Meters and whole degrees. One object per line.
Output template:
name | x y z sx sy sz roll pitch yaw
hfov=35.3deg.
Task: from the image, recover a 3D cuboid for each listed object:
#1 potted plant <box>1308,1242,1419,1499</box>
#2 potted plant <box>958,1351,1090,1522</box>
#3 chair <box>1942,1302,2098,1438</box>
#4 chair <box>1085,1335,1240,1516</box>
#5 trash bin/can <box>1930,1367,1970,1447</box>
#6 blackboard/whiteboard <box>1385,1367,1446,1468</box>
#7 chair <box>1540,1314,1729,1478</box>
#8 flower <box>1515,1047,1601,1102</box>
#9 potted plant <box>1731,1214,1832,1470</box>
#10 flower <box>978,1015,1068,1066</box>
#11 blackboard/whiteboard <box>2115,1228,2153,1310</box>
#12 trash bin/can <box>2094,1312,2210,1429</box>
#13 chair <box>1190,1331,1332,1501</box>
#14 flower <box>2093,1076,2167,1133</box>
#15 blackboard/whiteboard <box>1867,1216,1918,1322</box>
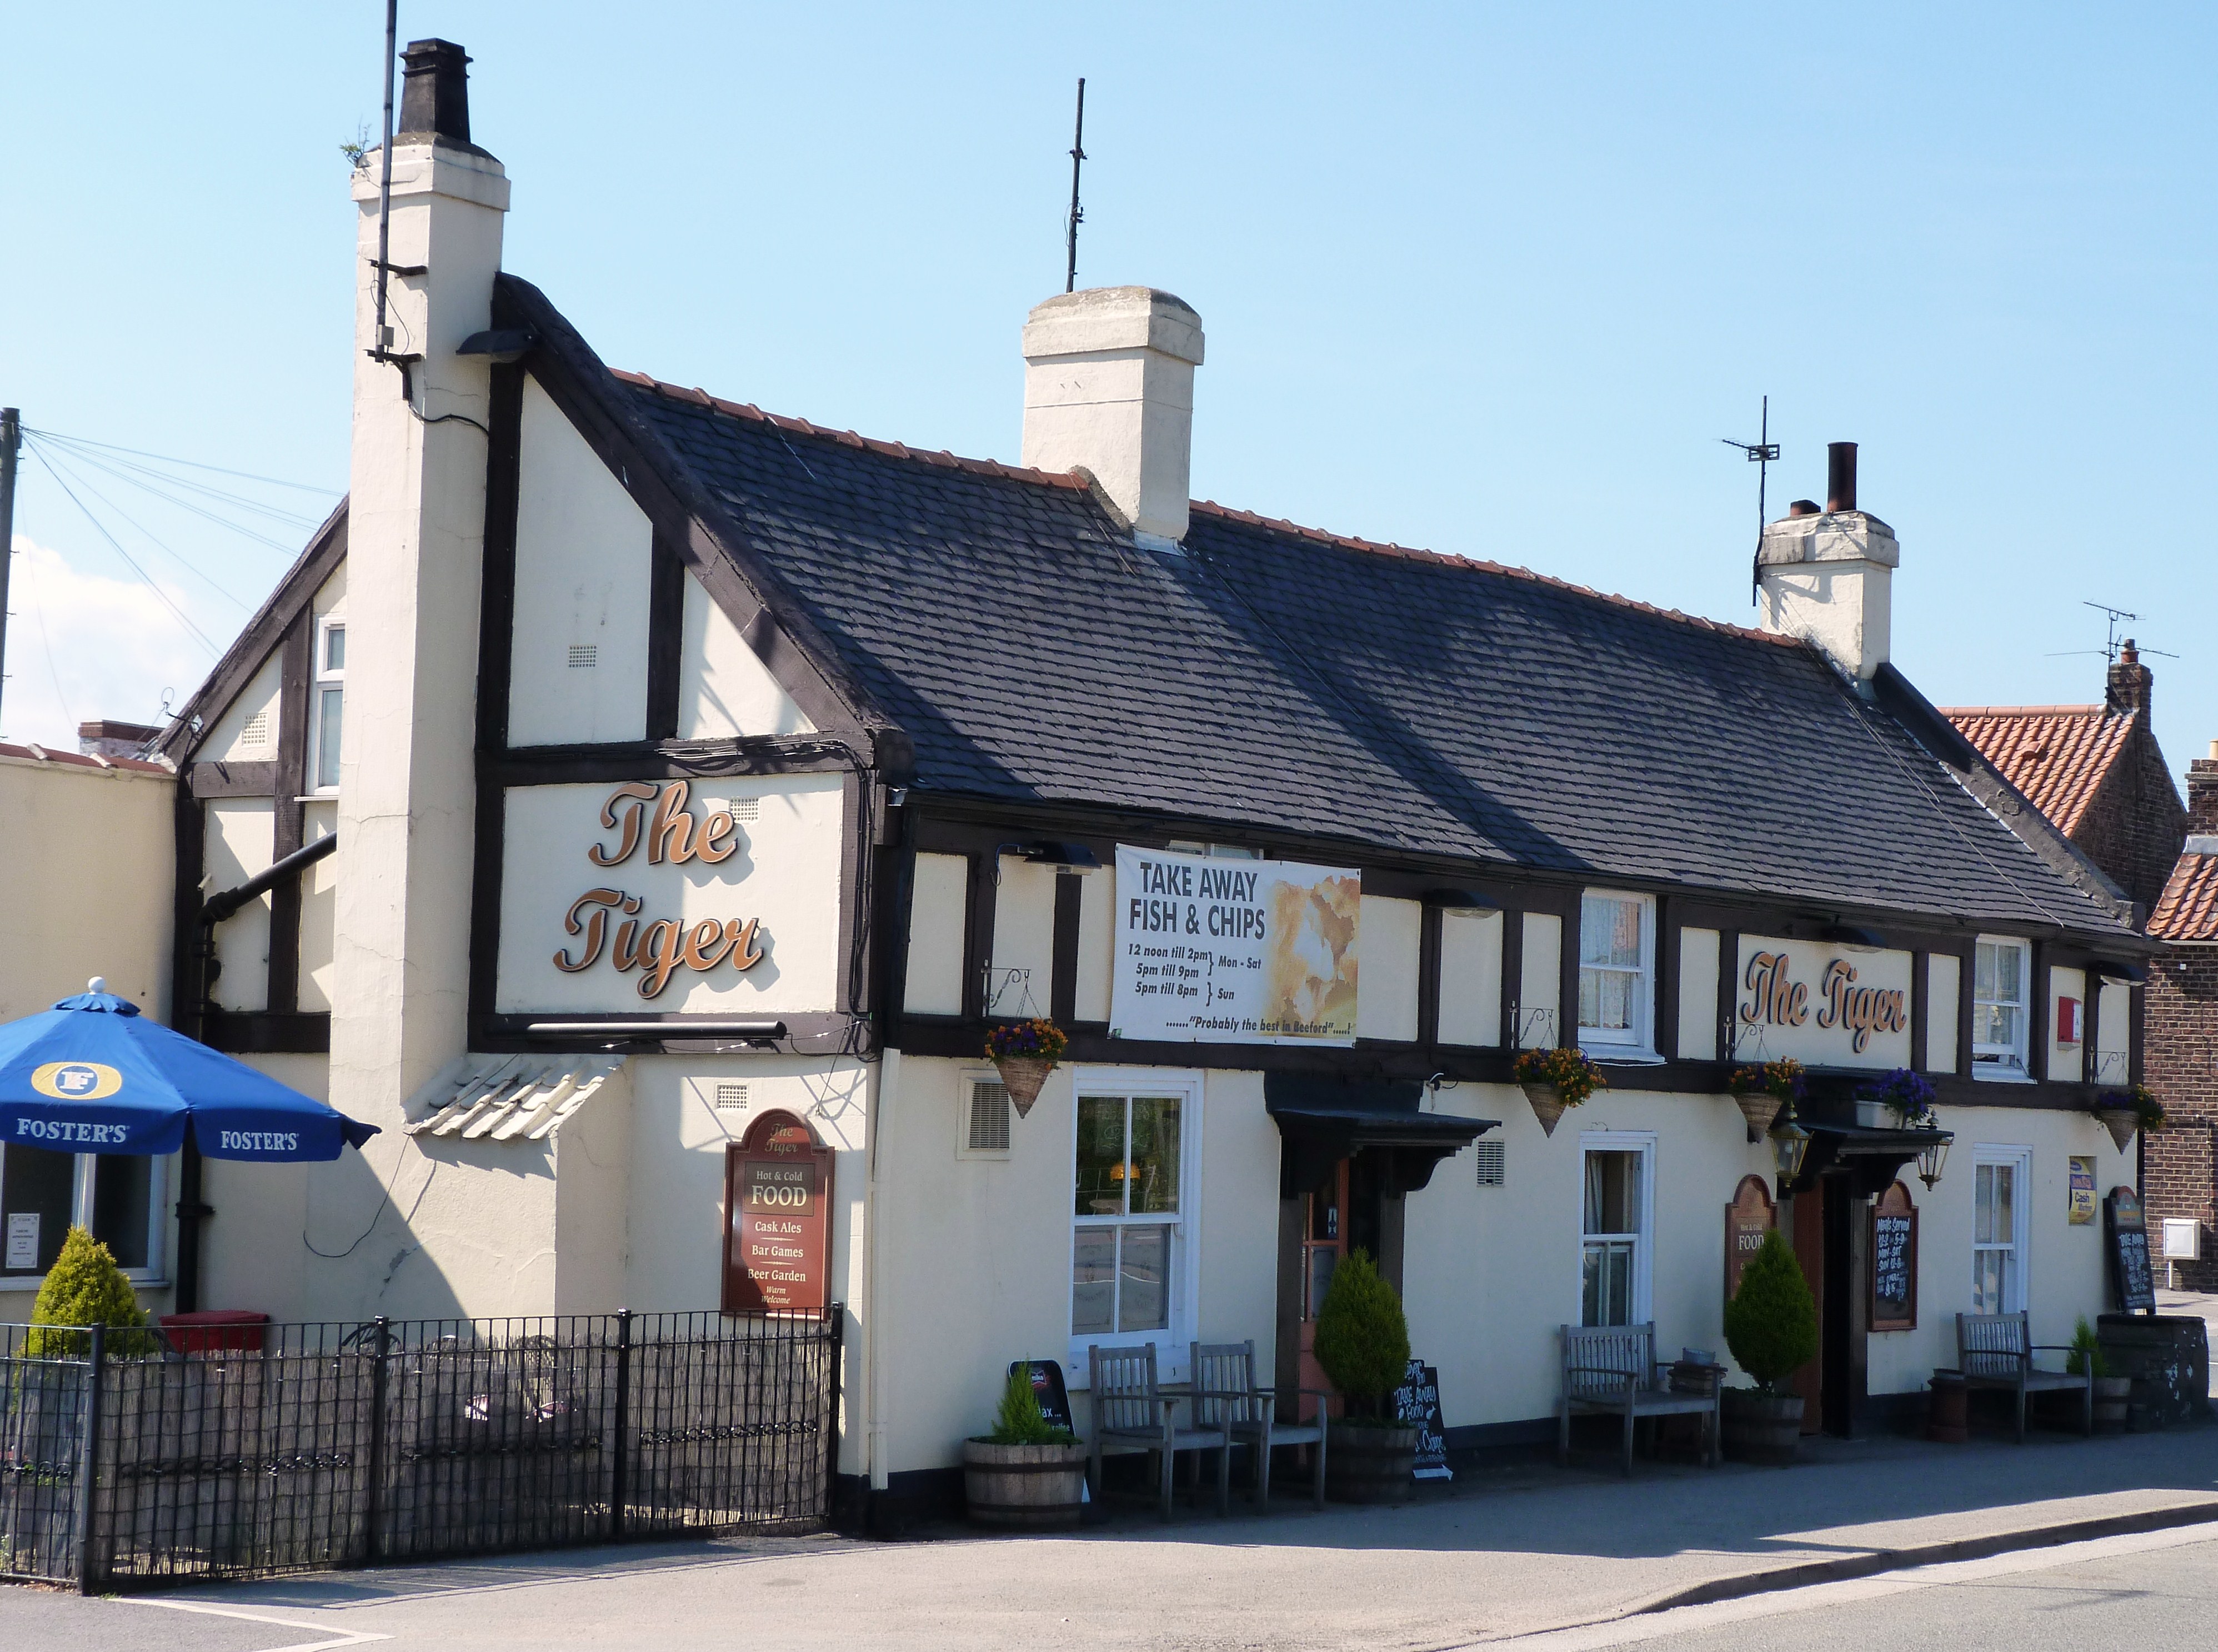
potted plant | 2.108 4.450 29.038 0.710 2.019 0.720 2 -5 -26
potted plant | -0.643 4.768 27.135 0.849 1.211 1.116 -1 -3 12
chair | 9.351 5.514 35.571 0.856 1.169 1.409 5 -10 -14
chair | 0.414 4.691 27.773 0.814 1.240 0.941 -5 -8 41
trash bin/can | 8.415 5.645 34.248 0.510 0.811 0.523 0 -2 -6
blackboard/whiteboard | 2.559 4.958 29.385 0.475 0.873 0.879 -3 -5 24
chair | 4.834 5.105 31.629 0.873 1.257 1.664 -1 -6 39
flower | 4.006 2.157 31.110 0.488 0.360 0.508 6 -7 -19
potted plant | 6.270 4.768 32.886 0.790 1.898 0.802 5 -9 -18
flower | -0.676 1.642 27.255 0.687 0.418 0.228 -6 -10 -22
blackboard/whiteboard | 11.106 4.765 37.793 0.131 1.026 0.750 -6 -10 40
trash bin/can | 11.013 5.870 36.763 0.978 1.401 1.368 0 -2 -18
chair | 1.217 4.780 28.298 0.923 1.268 1.024 -4 -8 27
flower | 11.090 3.074 37.941 0.616 0.378 0.626 10 3 -11
blackboard/whiteboard | 7.808 4.367 34.815 0.092 1.194 1.003 -2 -5 34
